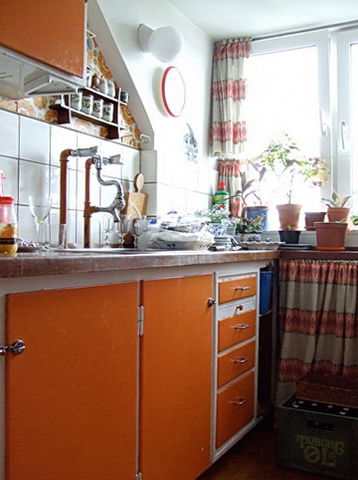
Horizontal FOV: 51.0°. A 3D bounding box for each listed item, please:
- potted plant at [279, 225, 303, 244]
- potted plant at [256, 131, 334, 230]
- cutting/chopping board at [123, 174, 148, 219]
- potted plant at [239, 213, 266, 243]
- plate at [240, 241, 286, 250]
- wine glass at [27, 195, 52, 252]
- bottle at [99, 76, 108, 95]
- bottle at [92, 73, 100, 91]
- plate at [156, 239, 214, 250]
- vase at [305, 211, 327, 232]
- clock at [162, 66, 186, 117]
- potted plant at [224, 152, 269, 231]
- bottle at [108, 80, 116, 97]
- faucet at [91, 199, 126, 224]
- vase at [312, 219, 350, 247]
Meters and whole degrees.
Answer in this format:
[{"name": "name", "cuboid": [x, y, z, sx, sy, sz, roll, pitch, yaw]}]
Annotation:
[{"name": "potted plant", "cuboid": [0.687, -0.030, 2.322, 0.101, 0.070, 0.102, 1, -5, -4]}, {"name": "potted plant", "cuboid": [0.755, -0.384, 2.656, 0.512, 0.657, 0.437, 1, -8, 1]}, {"name": "cutting/chopping board", "cuboid": [-0.241, -0.243, 2.060, 0.063, 0.236, 0.206, 0, 5, 17]}, {"name": "potted plant", "cuboid": [0.426, -0.067, 2.261, 0.171, 0.173, 0.159, 0, -3, 1]}, {"name": "plate", "cuboid": [0.434, 0.032, 2.016, 0.209, 0.041, 0.068, 1, 6, 22]}, {"name": "wine glass", "cuboid": [-0.534, -0.078, 1.448, 0.083, 0.186, 0.389, -3, 6, -19]}, {"name": "bottle", "cuboid": [-0.356, -0.749, 1.824, 0.043, 0.061, 0.070, 3, -13, -9]}, {"name": "bottle", "cuboid": [-0.400, -0.750, 1.804, 0.031, 0.090, 0.091, -1, 5, -1]}, {"name": "plate", "cuboid": [0.019, 0.019, 1.623, 0.210, 0.048, 0.180, -6, 7, -44]}, {"name": "vase", "cuboid": [0.883, -0.126, 2.447, 0.136, 0.113, 0.138, -3, -7, 35]}, {"name": "clock", "cuboid": [-0.031, -0.912, 2.330, 0.064, 0.307, 0.318, 1, 6, 21]}, {"name": "potted plant", "cuboid": [0.476, -0.262, 2.580, 0.179, 0.404, 0.176, -12, -29, 5]}, {"name": "bottle", "cuboid": [-0.339, -0.751, 1.890, 0.035, 0.083, 0.034, -5, 6, 1]}, {"name": "faucet", "cuboid": [-0.297, -0.126, 1.599, 0.058, 0.100, 0.181, -5, 6, -34]}, {"name": "vase", "cuboid": [0.846, -0.033, 2.059, 0.143, 0.115, 0.144, 0, -6, 8]}]
